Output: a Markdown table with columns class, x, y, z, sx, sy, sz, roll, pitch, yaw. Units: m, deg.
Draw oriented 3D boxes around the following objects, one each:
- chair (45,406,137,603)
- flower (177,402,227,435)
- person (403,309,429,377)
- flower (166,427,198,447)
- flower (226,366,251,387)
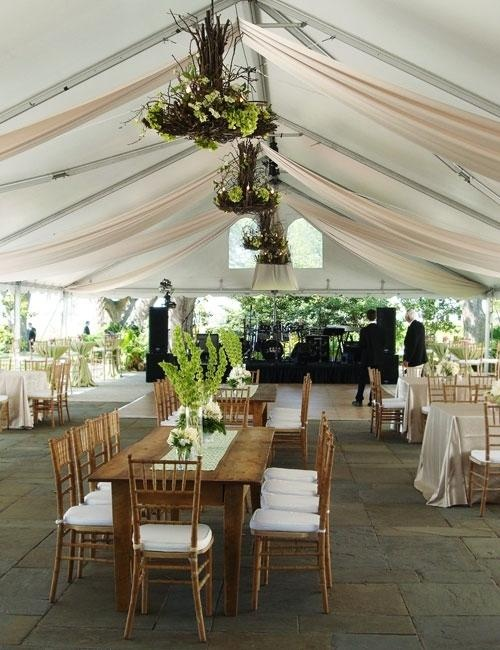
| class | x | y | z | sx | sy | sz | roll | pitch | yaw |
| --- | --- | --- | --- | --- | --- | --- | --- | --- | --- |
| chair | -0.922 | 1.061 | 3.244 | 0.391 | 0.660 | 1.015 | 0 | 2 | -3 |
| flower | -0.279 | 0.537 | 3.225 | 0.236 | 0.126 | 0.221 | -1 | -2 | 7 |
| person | 2.489 | 0.268 | 8.471 | 0.333 | 0.958 | 0.835 | 0 | 0 | 15 |
| flower | -0.347 | 0.578 | 2.916 | 0.141 | 0.093 | 0.136 | 7 | -11 | -40 |
| flower | -0.112 | 0.498 | 5.840 | 0.270 | 0.237 | 0.251 | -2 | 6 | -8 |
